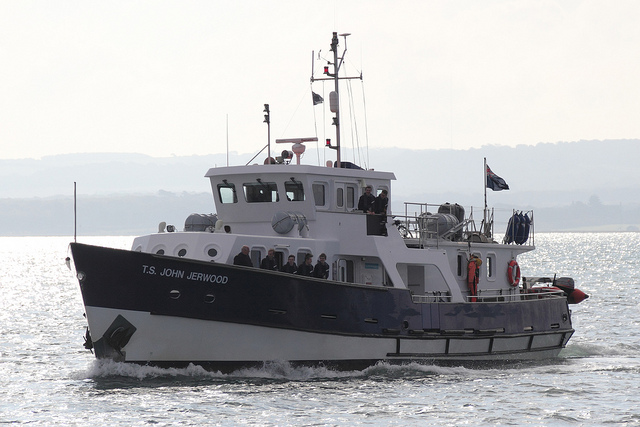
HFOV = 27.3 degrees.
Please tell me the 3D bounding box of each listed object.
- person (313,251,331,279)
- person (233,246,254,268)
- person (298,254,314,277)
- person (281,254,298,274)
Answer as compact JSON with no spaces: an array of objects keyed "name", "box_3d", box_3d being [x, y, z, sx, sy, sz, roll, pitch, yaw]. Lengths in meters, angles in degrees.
[{"name":"person","box_3d":[0.090,2.226,55.782,0.481,1.108,1.175,1,4,28]},{"name":"person","box_3d":[-3.153,1.793,54.683,0.894,0.901,0.831,-1,3,-13]},{"name":"person","box_3d":[-0.531,2.241,55.282,0.714,1.158,1.215,-1,7,-10]},{"name":"person","box_3d":[-1.327,2.112,55.219,0.665,0.921,0.365,4,-19,-2]}]
